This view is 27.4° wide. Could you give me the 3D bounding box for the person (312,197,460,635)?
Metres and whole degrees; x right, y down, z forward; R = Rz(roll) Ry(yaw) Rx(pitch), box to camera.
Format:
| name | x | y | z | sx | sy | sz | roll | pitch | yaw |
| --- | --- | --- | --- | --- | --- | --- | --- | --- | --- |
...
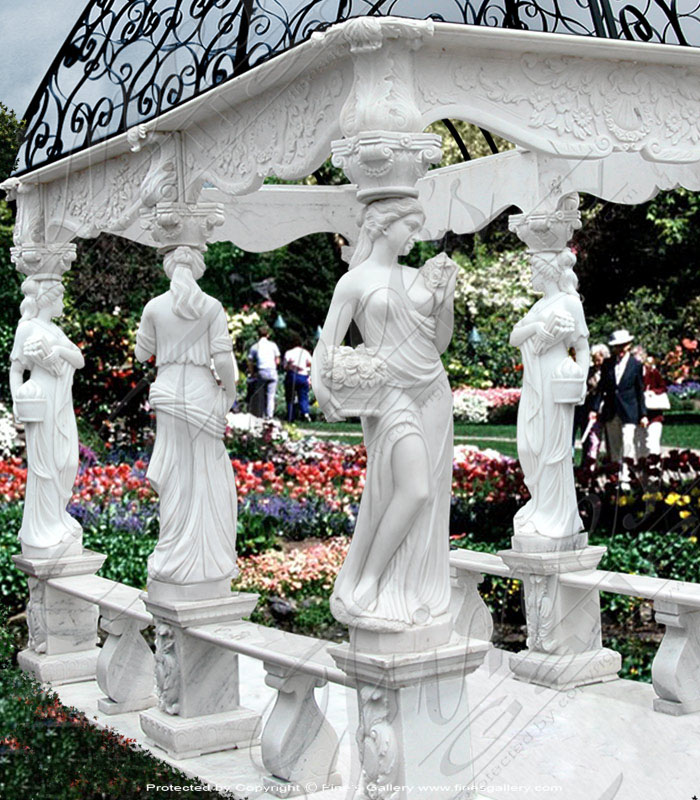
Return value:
| name | x | y | z | sx | sy | sz | roll | pitch | yaw |
| --- | --- | --- | --- | --- | --- | --- | --- | --- | --- |
| person | 0.105 | 0.027 | 3.482 | 0.302 | 1.112 | 0.965 | 2 | 0 | 4 |
